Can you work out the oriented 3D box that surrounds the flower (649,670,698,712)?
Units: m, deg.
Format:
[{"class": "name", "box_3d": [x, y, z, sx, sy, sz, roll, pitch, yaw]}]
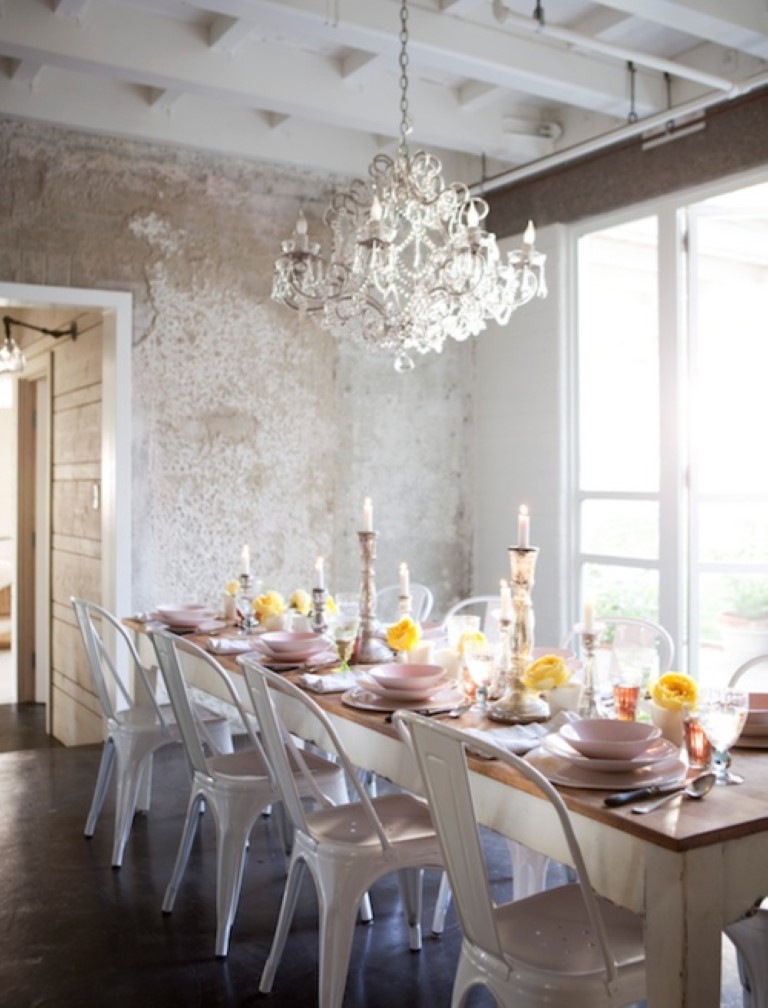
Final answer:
[{"class": "flower", "box_3d": [0.570, 0.368, 1.694, 0.073, 0.072, 0.024, 40, -12, -18]}]

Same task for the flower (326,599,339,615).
[{"class": "flower", "box_3d": [-0.171, 0.335, 2.786, 0.035, 0.057, 0.055, 1, -2, -2]}]

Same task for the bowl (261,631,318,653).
[{"class": "bowl", "box_3d": [-0.278, 0.412, 2.542, 0.108, 0.033, 0.105, -1, 0, 0]}]

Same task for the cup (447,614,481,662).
[{"class": "cup", "box_3d": [0.200, 0.354, 2.250, 0.110, 0.122, 0.111, 0, -3, 0]}]

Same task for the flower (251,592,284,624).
[{"class": "flower", "box_3d": [-0.429, 0.386, 3.179, 0.107, 0.063, 0.132, -1, 0, -3]}]

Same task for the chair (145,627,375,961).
[{"class": "chair", "box_3d": [-0.369, 0.764, 2.468, 0.581, 0.850, 0.535, -2, -5, -24]}]

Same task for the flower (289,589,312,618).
[{"class": "flower", "box_3d": [-0.312, 0.371, 3.175, 0.077, 0.083, 0.300, 0, -2, -5]}]

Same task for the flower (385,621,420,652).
[{"class": "flower", "box_3d": [0.045, 0.360, 2.315, 0.045, 0.087, 0.096, -2, -25, -47]}]

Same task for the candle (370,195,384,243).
[{"class": "candle", "box_3d": [-0.023, -0.799, 2.397, 0.039, 0.133, 0.092, 0, -2, -2]}]

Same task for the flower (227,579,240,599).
[{"class": "flower", "box_3d": [-0.620, 0.348, 3.489, 0.073, 0.079, 0.069, -1, 3, -18]}]

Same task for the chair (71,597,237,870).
[{"class": "chair", "box_3d": [-0.804, 0.764, 3.061, 0.558, 0.868, 0.490, -1, -2, -23]}]

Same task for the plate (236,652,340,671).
[{"class": "plate", "box_3d": [-0.277, 0.457, 2.477, 0.152, 0.021, 0.153, 2, -3, -21]}]

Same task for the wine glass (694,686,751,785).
[{"class": "wine glass", "box_3d": [0.574, 0.397, 1.464, 0.091, 0.148, 0.090, -4, -11, 38]}]

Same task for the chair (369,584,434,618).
[{"class": "chair", "box_3d": [0.084, 0.465, 3.973, 0.233, 0.275, 0.221, -3, -10, 28]}]

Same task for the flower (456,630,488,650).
[{"class": "flower", "box_3d": [0.214, 0.324, 2.013, 0.050, 0.041, 0.049, -2, 3, 4]}]
